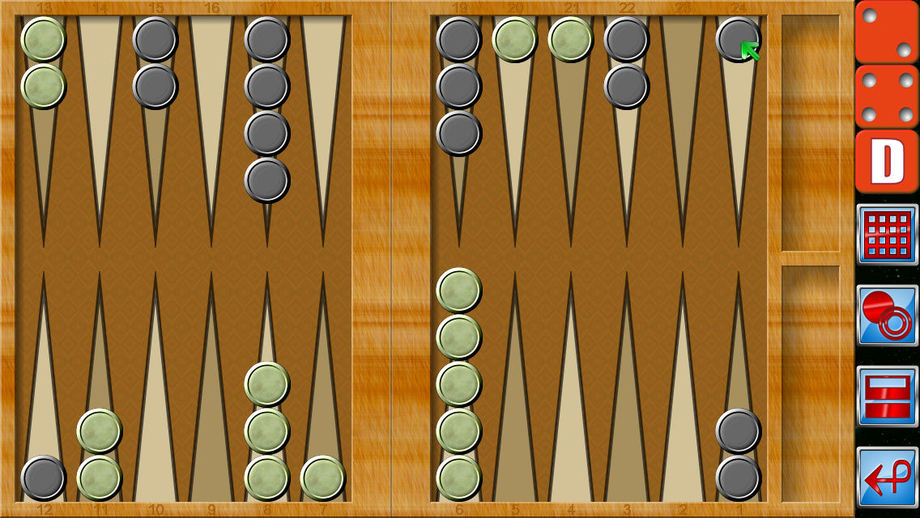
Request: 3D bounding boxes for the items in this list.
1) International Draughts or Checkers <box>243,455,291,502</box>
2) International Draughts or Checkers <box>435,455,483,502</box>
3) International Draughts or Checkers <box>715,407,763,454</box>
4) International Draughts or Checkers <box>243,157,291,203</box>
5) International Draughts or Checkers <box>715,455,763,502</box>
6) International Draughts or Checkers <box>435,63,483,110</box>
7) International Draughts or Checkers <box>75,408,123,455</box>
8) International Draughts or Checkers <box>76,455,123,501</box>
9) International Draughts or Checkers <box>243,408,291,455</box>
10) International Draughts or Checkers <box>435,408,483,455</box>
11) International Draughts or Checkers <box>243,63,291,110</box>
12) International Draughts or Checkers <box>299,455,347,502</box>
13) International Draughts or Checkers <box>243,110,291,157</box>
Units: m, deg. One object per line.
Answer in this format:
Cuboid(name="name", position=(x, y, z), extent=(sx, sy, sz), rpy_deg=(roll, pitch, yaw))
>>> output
Cuboid(name="International Draughts or Checkers", position=(-1.272, 1.453, 8.623), extent=(0.283, 0.099, 0.304), rpy_deg=(-1, -75, -2))
Cuboid(name="International Draughts or Checkers", position=(-0.007, 1.449, 8.602), extent=(0.297, 0.088, 0.302), rpy_deg=(0, -75, -2))
Cuboid(name="International Draughts or Checkers", position=(1.847, 1.139, 8.620), extent=(0.298, 0.089, 0.288), rpy_deg=(-28, -76, 6))
Cuboid(name="International Draughts or Checkers", position=(-1.271, -0.521, 8.621), extent=(0.302, 0.091, 0.286), rpy_deg=(4, -75, -3))
Cuboid(name="International Draughts or Checkers", position=(1.850, 1.458, 8.620), extent=(0.299, 0.077, 0.303), rpy_deg=(-14, -75, 2))
Cuboid(name="International Draughts or Checkers", position=(-0.004, -1.139, 8.625), extent=(0.293, 0.076, 0.287), rpy_deg=(-1, -75, -2))
Cuboid(name="International Draughts or Checkers", position=(-2.383, 1.140, 8.636), extent=(0.293, 0.095, 0.291), rpy_deg=(10, -76, -5))
Cuboid(name="International Draughts or Checkers", position=(-2.385, 1.456, 8.635), extent=(0.291, 0.079, 0.311), rpy_deg=(6, -75, -4))
Cuboid(name="International Draughts or Checkers", position=(-1.271, 1.139, 8.617), extent=(0.284, 0.095, 0.284), rpy_deg=(-3, -75, -1))
Cuboid(name="International Draughts or Checkers", position=(-0.007, 1.136, 8.598), extent=(0.297, 0.085, 0.284), rpy_deg=(-1, -75, -2))
Cuboid(name="International Draughts or Checkers", position=(-1.272, -1.140, 8.628), extent=(0.288, 0.083, 0.286), rpy_deg=(0, -75, -2))
Cuboid(name="International Draughts or Checkers", position=(-0.898, 1.457, 8.620), extent=(0.297, 0.089, 0.297), rpy_deg=(-5, -75, -1))
Cuboid(name="International Draughts or Checkers", position=(-1.269, -0.830, 8.626), extent=(0.294, 0.085, 0.286), rpy_deg=(0, -75, -2))
